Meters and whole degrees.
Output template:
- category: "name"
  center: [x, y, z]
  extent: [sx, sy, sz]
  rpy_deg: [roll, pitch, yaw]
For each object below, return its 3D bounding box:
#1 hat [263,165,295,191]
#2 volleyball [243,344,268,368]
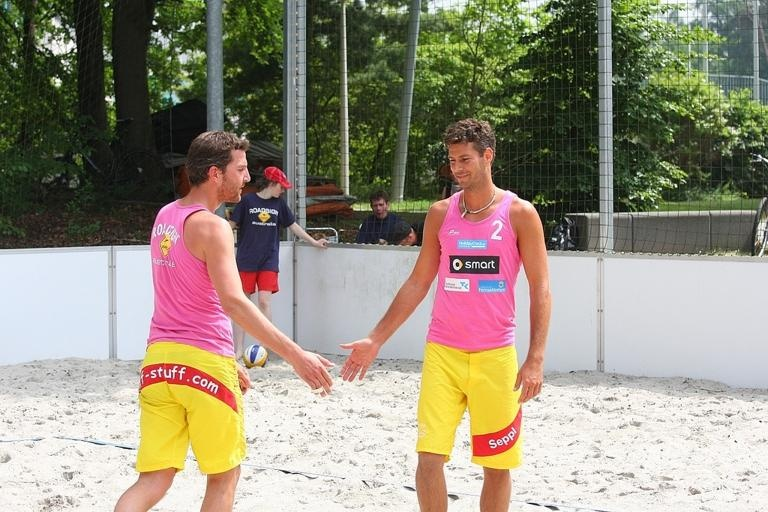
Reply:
- category: "hat"
  center: [-1.263, -0.924, 11.497]
  extent: [0.343, 0.194, 0.223]
  rpy_deg: [23, 8, -31]
- category: "volleyball"
  center: [-1.431, 1.163, 10.978]
  extent: [0.248, 0.271, 0.265]
  rpy_deg: [2, -14, 13]
